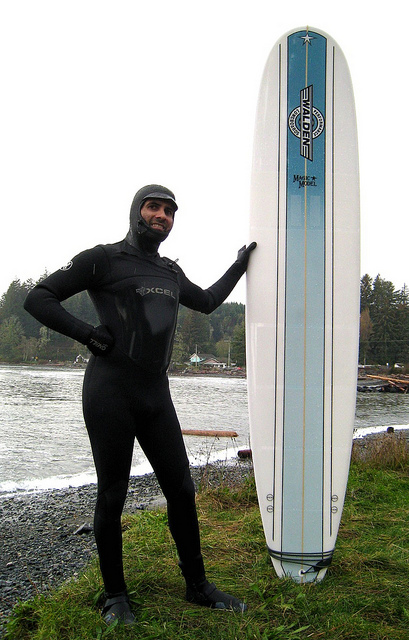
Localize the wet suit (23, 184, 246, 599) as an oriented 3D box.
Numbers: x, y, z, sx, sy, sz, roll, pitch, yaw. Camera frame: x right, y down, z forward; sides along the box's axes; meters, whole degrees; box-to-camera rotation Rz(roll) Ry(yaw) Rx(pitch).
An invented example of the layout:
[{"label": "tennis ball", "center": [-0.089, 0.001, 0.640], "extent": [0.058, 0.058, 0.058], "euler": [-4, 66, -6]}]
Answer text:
[{"label": "wet suit", "center": [-0.322, 0.387, 2.909], "extent": [1.140, 2.202, 0.399], "euler": [0, -1, -42]}]

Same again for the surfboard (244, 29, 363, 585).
[{"label": "surfboard", "center": [0.589, -0.139, 3.379], "extent": [0.679, 3.279, 0.333], "euler": [-1, -1, 14]}]

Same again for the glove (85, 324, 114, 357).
[{"label": "glove", "center": [-0.512, 0.100, 2.734], "extent": [0.152, 0.108, 0.057], "euler": [-33, 12, -27]}]
